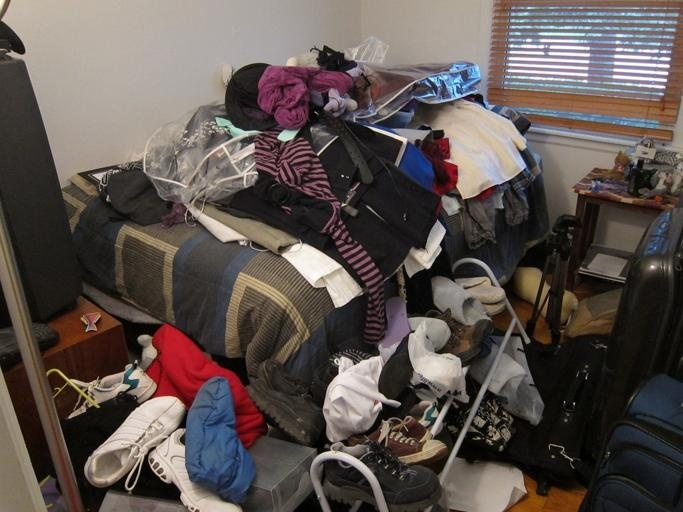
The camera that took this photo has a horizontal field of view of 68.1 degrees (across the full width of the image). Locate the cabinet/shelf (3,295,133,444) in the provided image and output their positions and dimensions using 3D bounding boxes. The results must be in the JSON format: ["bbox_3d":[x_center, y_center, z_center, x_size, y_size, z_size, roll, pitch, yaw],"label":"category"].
[{"bbox_3d":[-0.918,0.391,1.689,0.216,0.382,0.411,30,50,28],"label":"cabinet/shelf"}]
